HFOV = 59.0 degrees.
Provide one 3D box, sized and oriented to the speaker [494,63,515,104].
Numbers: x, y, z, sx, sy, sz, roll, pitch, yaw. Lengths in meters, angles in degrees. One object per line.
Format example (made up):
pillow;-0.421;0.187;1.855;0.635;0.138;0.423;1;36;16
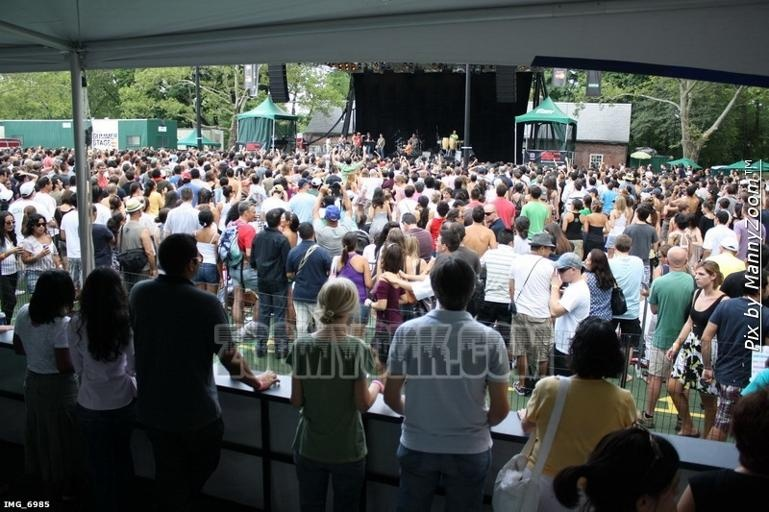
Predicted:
speaker;5.323;-7.637;29.977;0.841;1.474;1.720;2;11;5

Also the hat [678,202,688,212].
hat;4.514;-0.745;10.313;0.120;0.120;0.093;23;-3;-34

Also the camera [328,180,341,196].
camera;-0.823;-1.131;11.264;0.244;0.089;0.241;7;-18;-6

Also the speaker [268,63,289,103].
speaker;-5.005;-8.217;32.030;0.857;1.695;2.030;-1;11;-9

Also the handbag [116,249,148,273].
handbag;-3.125;0.081;8.478;0.335;0.316;0.247;-13;35;-10

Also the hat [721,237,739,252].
hat;3.939;-0.147;7.781;0.166;0.123;0.238;6;16;15

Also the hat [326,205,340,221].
hat;-0.671;-0.591;8.814;0.158;0.186;0.190;2;52;0

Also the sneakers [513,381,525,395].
sneakers;1.135;1.118;5.760;0.095;0.129;0.047;3;12;12

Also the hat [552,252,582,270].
hat;1.872;0.043;6.920;0.224;0.118;0.159;2;1;9

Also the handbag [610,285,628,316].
handbag;2.515;0.484;7.336;0.164;0.341;0.330;2;7;24

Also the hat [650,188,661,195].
hat;5.145;-1.235;12.896;0.201;0.088;0.277;-2;11;29
